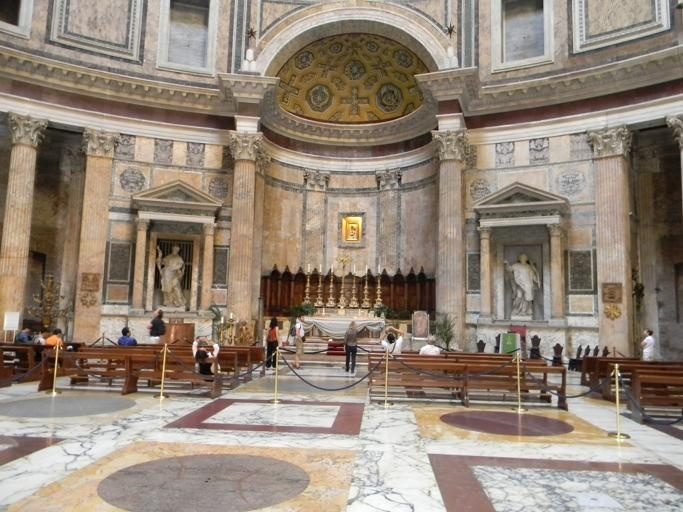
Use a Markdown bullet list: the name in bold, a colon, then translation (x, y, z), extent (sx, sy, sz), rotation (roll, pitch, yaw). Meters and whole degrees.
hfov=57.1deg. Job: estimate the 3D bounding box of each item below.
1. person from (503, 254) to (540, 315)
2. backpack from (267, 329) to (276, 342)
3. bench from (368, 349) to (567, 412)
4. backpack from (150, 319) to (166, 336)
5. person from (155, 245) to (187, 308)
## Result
- **person**: translation (7.407, 1.193, 25.619), extent (1.356, 2.498, 0.601), rotation (-1, -8, 14)
- **backpack**: translation (-2.282, 2.601, 20.829), extent (0.274, 0.443, 0.524), rotation (2, -7, -9)
- **bench**: translation (3.160, 3.208, 16.538), extent (4.861, 1.258, 2.808), rotation (1, -7, 3)
- **backpack**: translation (-5.945, 2.284, 20.384), extent (0.440, 0.685, 0.387), rotation (5, -9, -29)
- **person**: translation (-7.258, 0.850, 26.937), extent (1.278, 2.745, 0.781), rotation (-1, -8, 16)
